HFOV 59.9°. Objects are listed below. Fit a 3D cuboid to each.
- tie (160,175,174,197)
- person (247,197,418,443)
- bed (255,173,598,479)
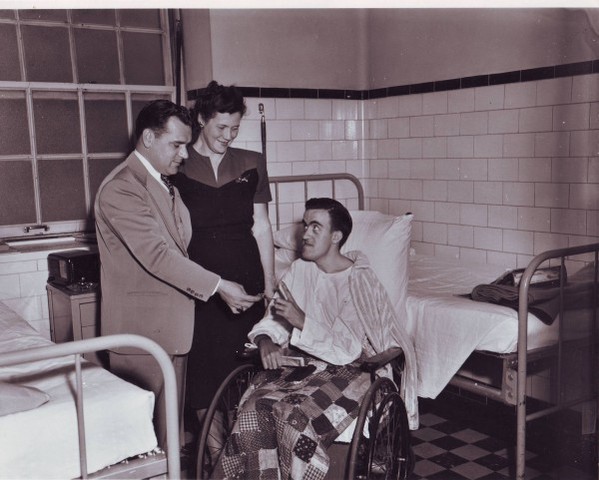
[{"bbox_3d":[-0.553,-0.213,2.116,0.026,0.088,0.063,-14,10,9],"label":"tie"},{"bbox_3d":[0.164,0.349,2.421,0.707,1.085,0.592,0,15,12],"label":"person"},{"bbox_3d":[0.601,0.244,2.840,0.970,1.013,1.547,-10,15,-38],"label":"bed"}]
